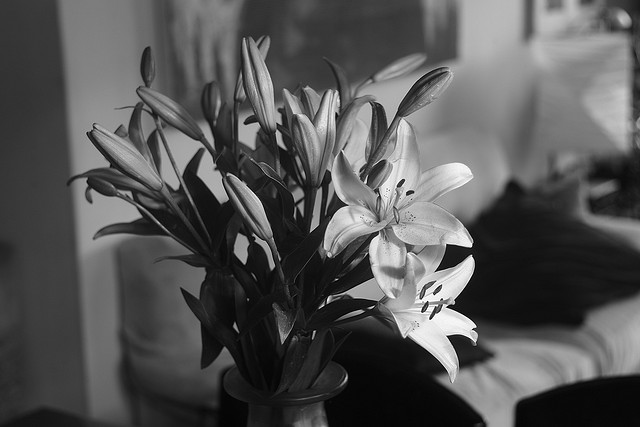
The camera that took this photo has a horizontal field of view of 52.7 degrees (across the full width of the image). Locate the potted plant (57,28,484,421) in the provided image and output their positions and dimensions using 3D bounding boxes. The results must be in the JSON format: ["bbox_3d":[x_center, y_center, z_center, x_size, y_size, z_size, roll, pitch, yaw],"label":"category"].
[{"bbox_3d":[-0.083,0.042,1.369,0.839,0.881,0.689,5,24,18],"label":"potted plant"}]
